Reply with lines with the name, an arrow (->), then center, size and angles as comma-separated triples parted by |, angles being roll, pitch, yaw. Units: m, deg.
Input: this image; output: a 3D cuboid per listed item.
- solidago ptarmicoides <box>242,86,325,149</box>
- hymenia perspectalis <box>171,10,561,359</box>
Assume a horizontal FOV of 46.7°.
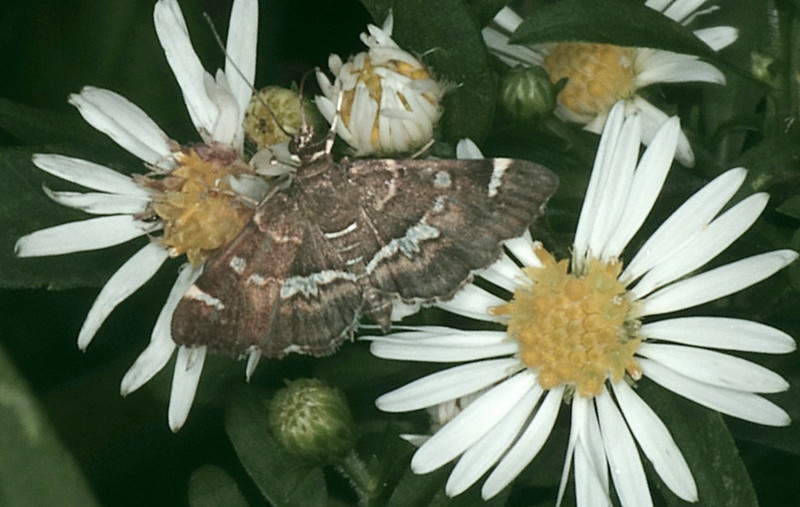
solidago ptarmicoides -> -0.255, -0.315, 2.017 | 0.129, 0.156, 0.132 | 18, 39, 18
hymenia perspectalis -> -0.116, -0.067, 2.001 | 0.825, 0.072, 0.520 | -18, 84, 5
